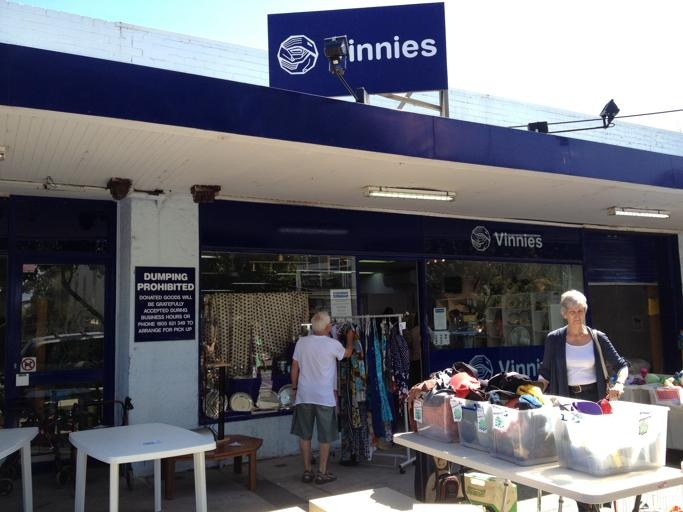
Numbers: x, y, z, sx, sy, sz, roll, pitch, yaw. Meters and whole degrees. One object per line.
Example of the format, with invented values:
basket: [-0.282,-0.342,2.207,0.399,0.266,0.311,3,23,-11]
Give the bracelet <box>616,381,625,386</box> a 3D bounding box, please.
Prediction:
bracelet: [2.376,1.083,4.933,0.070,0.027,0.081,0,-2,12]
